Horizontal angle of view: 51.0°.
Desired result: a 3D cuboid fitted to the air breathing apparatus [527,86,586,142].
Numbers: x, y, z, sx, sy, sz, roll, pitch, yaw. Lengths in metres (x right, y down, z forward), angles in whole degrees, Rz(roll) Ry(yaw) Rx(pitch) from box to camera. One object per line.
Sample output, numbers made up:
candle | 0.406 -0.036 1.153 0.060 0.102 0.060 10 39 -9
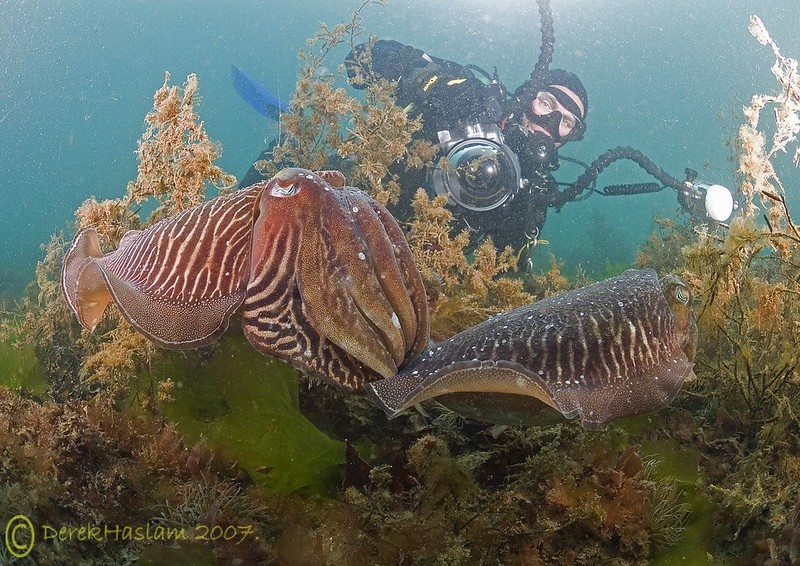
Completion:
air breathing apparatus | 1.365 -1.465 7.185 0.432 0.515 0.414 -14 27 -39

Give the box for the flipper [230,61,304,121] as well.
flipper | -1.053 -1.362 6.146 0.237 0.293 0.723 -14 33 -39

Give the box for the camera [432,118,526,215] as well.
camera | 0.589 -0.904 6.481 0.225 0.575 0.760 -23 22 48

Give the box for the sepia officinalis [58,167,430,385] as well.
sepia officinalis | -0.739 -0.064 4.351 1.827 0.993 0.492 9 24 0
